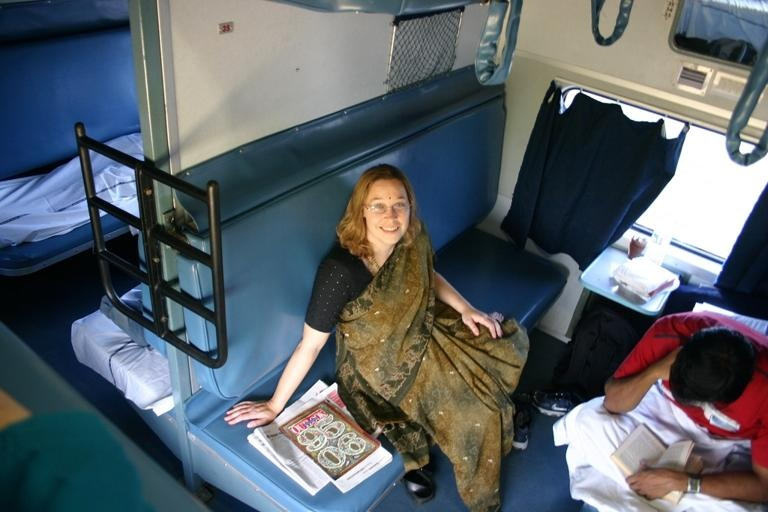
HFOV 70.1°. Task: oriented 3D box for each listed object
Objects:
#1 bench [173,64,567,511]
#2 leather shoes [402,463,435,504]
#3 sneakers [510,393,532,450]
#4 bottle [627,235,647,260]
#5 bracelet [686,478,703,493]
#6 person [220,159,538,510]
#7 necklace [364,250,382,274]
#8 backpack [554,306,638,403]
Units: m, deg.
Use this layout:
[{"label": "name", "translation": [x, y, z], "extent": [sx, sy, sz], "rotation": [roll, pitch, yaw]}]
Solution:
[{"label": "bench", "translation": [-0.097, 0.197, 2.772], "extent": [0.777, 1.443, 2.043], "rotation": [29, 44, 33]}, {"label": "leather shoes", "translation": [0.186, 1.238, 3.018], "extent": [0.152, 0.084, 0.247], "rotation": [-12, 23, -24]}, {"label": "sneakers", "translation": [0.843, 1.012, 3.407], "extent": [0.127, 0.161, 0.401], "rotation": [3, 39, 15]}, {"label": "bottle", "translation": [1.623, -0.056, 3.549], "extent": [0.096, 0.122, 0.125], "rotation": [17, 37, 26]}, {"label": "bracelet", "translation": [1.518, 1.123, 2.681], "extent": [0.053, 0.090, 0.083], "rotation": [9, -8, 11]}, {"label": "person", "translation": [-0.058, 0.456, 2.755], "extent": [0.833, 1.343, 1.224], "rotation": [21, 48, 33]}, {"label": "necklace", "translation": [-0.052, 0.041, 2.727], "extent": [0.096, 0.023, 0.100], "rotation": [27, 55, -31]}, {"label": "backpack", "translation": [1.401, 0.609, 3.707], "extent": [0.465, 0.618, 0.214], "rotation": [34, 14, 9]}]
